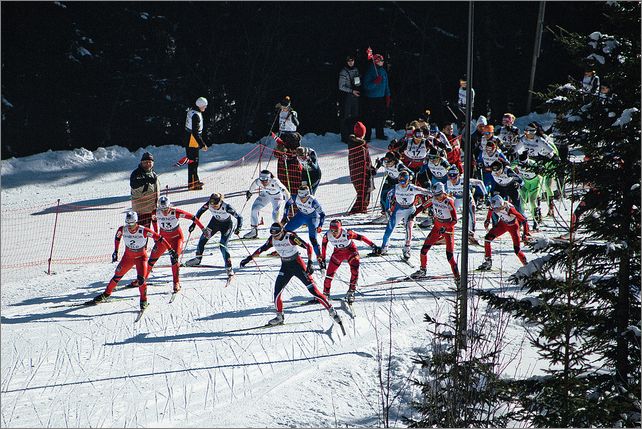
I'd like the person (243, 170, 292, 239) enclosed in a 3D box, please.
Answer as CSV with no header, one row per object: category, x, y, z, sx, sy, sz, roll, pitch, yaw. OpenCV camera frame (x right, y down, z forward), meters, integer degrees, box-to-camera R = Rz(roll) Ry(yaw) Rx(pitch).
person,-1.534,-0.344,19.531,1.154,2.304,0.978,4,26,-4

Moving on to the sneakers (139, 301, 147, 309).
sneakers,-4.306,2.182,16.460,0.164,0.204,0.173,4,4,22

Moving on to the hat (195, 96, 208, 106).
hat,-3.868,-3.606,21.830,0.320,0.322,0.597,-4,9,-13

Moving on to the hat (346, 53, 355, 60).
hat,1.082,-5.794,25.156,0.316,0.196,0.467,-4,9,-1

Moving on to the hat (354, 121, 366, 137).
hat,1.187,-2.627,20.912,0.309,0.490,0.301,-9,-9,0

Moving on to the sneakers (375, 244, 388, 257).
sneakers,1.624,0.976,18.273,0.405,0.146,0.291,-7,-5,-17

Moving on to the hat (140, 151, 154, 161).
hat,-4.900,-1.614,19.080,0.343,0.265,0.350,2,-1,-20

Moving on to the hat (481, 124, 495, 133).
hat,5.050,-2.621,20.642,0.398,0.329,0.615,8,11,12

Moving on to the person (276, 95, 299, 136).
person,-1.099,-3.256,22.234,0.605,1.191,1.167,-2,9,-4

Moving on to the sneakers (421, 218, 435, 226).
sneakers,3.196,0.239,20.441,0.451,0.209,0.164,-10,27,9

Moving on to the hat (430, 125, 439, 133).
hat,3.651,-2.730,21.860,0.225,0.241,0.236,2,2,32

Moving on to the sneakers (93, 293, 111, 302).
sneakers,-5.411,2.064,16.784,0.422,0.152,0.214,-8,-22,-9

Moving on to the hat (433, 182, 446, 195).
hat,3.038,-0.684,17.546,0.250,0.367,0.352,9,22,29

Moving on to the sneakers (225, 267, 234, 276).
sneakers,-2.385,1.482,17.692,0.171,0.315,0.296,-2,9,-6

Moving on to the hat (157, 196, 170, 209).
hat,-4.026,-0.287,17.300,0.256,0.320,0.320,4,30,-21

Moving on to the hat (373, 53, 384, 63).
hat,2.150,-5.901,25.761,0.338,0.323,0.529,-1,9,7

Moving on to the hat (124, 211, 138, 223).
hat,-4.667,0.073,16.637,0.226,0.291,0.306,7,-1,-2

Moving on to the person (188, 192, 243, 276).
person,-2.858,0.397,18.081,1.371,2.414,1.119,9,21,2

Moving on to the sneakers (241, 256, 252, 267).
sneakers,-1.859,1.135,16.551,0.312,0.198,0.090,-51,25,-16
